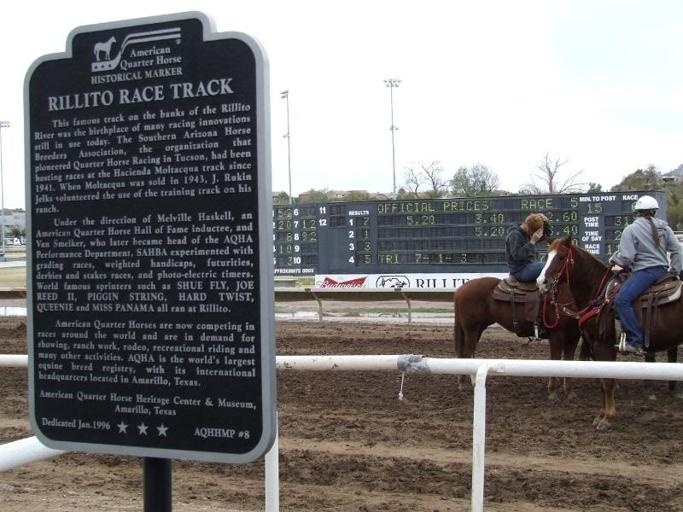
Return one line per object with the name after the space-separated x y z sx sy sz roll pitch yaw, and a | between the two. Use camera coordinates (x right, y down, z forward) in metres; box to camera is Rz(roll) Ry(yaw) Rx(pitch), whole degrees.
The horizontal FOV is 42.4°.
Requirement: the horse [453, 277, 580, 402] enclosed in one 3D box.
1.996 0.738 9.271 1.991 1.417 0.480 -1 -1 40 | horse

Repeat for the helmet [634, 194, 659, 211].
2.713 -0.506 7.894 0.162 0.190 0.210 0 -7 21 | helmet

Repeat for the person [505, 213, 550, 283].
2.024 0.038 9.377 0.534 0.968 0.431 -2 3 7 | person

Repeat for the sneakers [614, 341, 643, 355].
2.541 0.802 7.844 0.214 0.098 0.121 28 -21 -3 | sneakers
